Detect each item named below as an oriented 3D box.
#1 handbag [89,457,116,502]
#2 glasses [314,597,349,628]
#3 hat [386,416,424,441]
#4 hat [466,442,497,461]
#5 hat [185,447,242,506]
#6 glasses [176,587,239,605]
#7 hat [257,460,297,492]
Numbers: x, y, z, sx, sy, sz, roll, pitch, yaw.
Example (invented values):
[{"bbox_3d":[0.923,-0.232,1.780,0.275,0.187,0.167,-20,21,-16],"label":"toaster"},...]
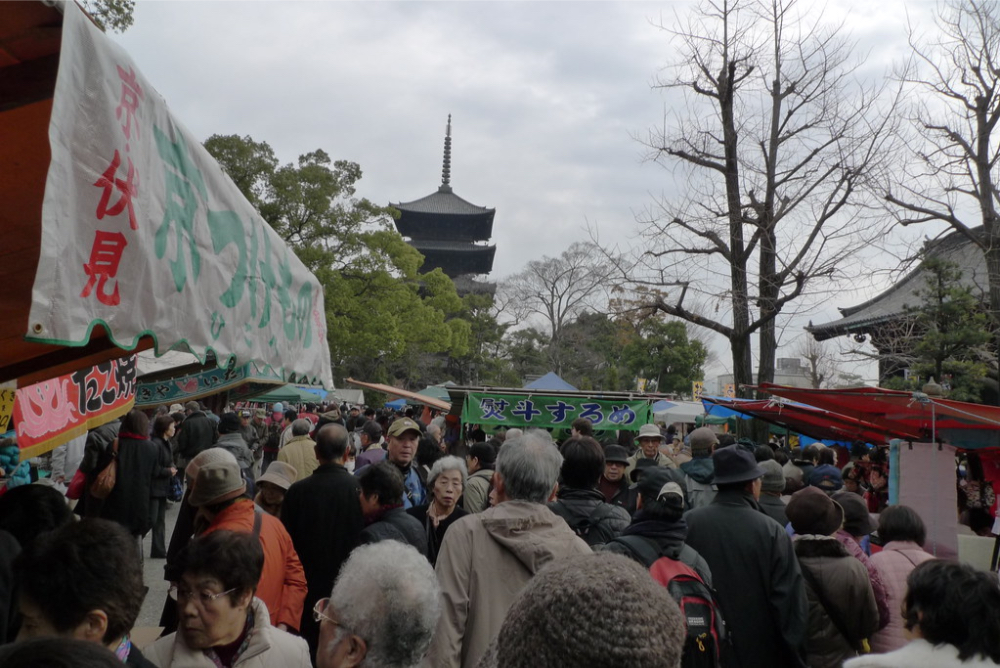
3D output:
[{"bbox_3d":[-3.567,1.308,7.076,0.142,0.315,0.260,34,-45,-22],"label":"handbag"},{"bbox_3d":[-0.658,1.055,2.975,0.146,0.048,0.143,34,-14,-18],"label":"glasses"},{"bbox_3d":[-0.758,0.747,6.197,0.233,0.161,0.280,6,-6,-9],"label":"hat"},{"bbox_3d":[-0.142,0.995,6.604,0.149,0.180,0.169,20,-45,-25],"label":"hat"},{"bbox_3d":[-1.565,0.786,4.340,0.292,0.230,0.310,-14,4,-43],"label":"hat"},{"bbox_3d":[-1.318,1.159,3.503,0.274,0.084,0.055,4,-6,12],"label":"glasses"},{"bbox_3d":[-1.499,0.988,5.317,0.182,0.109,0.222,8,-35,21],"label":"hat"}]
